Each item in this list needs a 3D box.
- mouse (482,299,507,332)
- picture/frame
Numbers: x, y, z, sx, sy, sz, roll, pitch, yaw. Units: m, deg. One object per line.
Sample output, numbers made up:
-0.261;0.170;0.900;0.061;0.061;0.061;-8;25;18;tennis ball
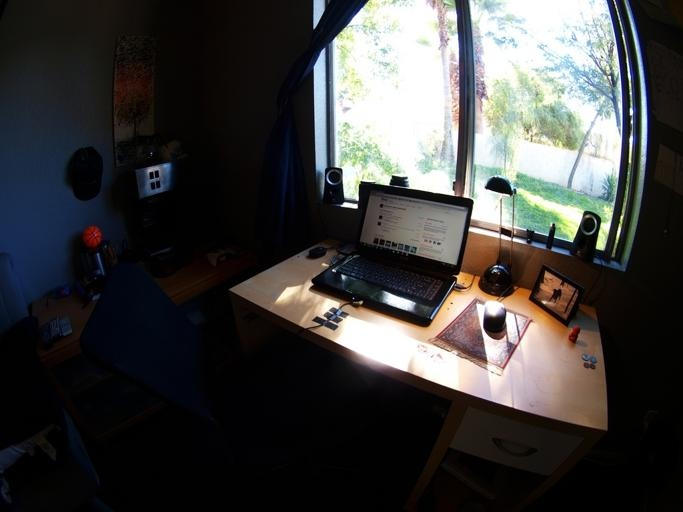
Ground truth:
0.739;0.286;2.345;0.091;0.104;0.135;1;23;14;mouse
1.075;0.206;2.419;0.211;0.195;0.071;38;23;34;picture/frame
